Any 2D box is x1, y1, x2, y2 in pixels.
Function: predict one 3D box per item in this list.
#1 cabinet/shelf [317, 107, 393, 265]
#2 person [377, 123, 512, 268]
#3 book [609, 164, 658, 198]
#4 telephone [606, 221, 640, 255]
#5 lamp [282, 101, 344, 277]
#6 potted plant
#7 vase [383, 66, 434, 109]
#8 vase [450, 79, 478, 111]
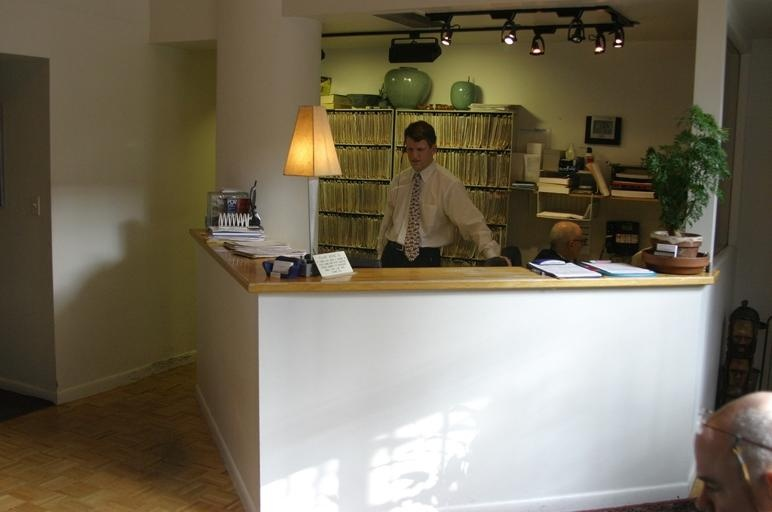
[{"bbox_3d":[-0.278,-1.116,7.179,0.979,0.415,2.116,-1,47,1],"label":"cabinet/shelf"},{"bbox_3d":[0.651,-0.613,5.744,1.271,1.777,0.536,7,15,19],"label":"person"},{"bbox_3d":[2.426,-0.733,5.594,0.432,0.299,0.459,2,6,7],"label":"book"},{"bbox_3d":[2.574,-0.190,6.191,0.354,0.374,0.090,-7,-10,3],"label":"telephone"},{"bbox_3d":[-0.515,-0.528,4.043,0.387,1.058,0.746,-4,14,-14],"label":"lamp"},{"bbox_3d":[2.074,-0.455,3.973,0.505,1.166,0.581,8,16,31],"label":"potted plant"},{"bbox_3d":[0.274,-1.960,6.615,0.498,0.412,0.519,2,8,-1],"label":"vase"},{"bbox_3d":[0.916,-1.823,6.579,0.307,0.366,0.313,3,1,34],"label":"vase"}]
